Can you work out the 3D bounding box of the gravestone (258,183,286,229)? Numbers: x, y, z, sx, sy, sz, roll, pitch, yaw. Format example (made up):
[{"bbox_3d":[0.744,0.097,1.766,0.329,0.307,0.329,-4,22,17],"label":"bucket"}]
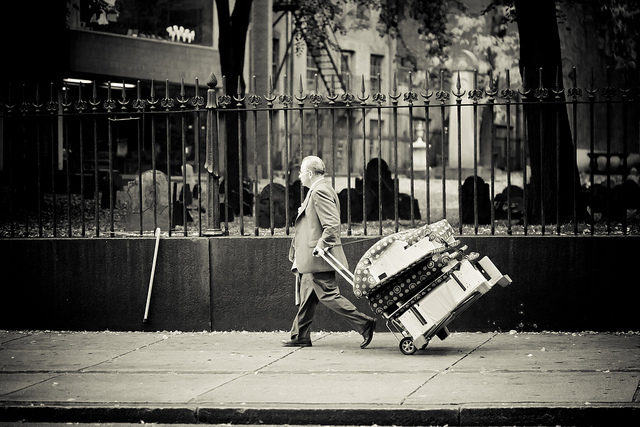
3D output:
[{"bbox_3d":[-0.948,-0.178,20.964,0.608,0.889,0.197,7,4,30],"label":"gravestone"}]

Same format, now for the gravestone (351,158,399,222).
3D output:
[{"bbox_3d":[1.160,-0.437,22.201,0.883,1.326,0.356,3,-5,-25],"label":"gravestone"}]
